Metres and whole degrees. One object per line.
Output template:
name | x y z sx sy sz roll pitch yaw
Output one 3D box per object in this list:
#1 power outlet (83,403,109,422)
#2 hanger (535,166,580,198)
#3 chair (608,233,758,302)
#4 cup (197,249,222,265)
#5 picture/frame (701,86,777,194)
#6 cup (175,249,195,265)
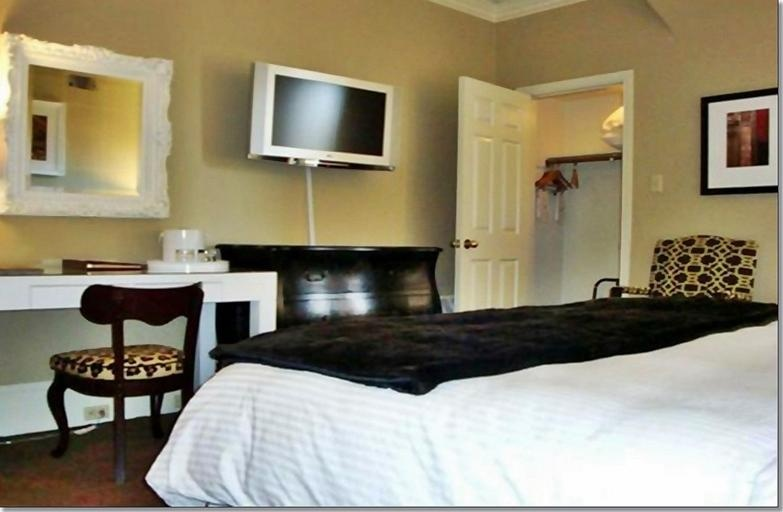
power outlet | -1.781 0.940 3.518 0.139 0.078 0.020 1 -2 -37
hanger | 1.572 -0.703 5.521 0.407 0.187 0.283 0 -1 -38
chair | 2.170 0.076 4.138 0.679 0.400 0.363 7 14 26
cup | -1.002 -0.004 3.209 0.120 0.063 0.119 1 12 0
picture/frame | 2.507 -0.826 4.247 0.553 0.782 0.258 7 14 26
cup | -1.113 -0.002 3.162 0.082 0.057 0.082 -1 0 0
